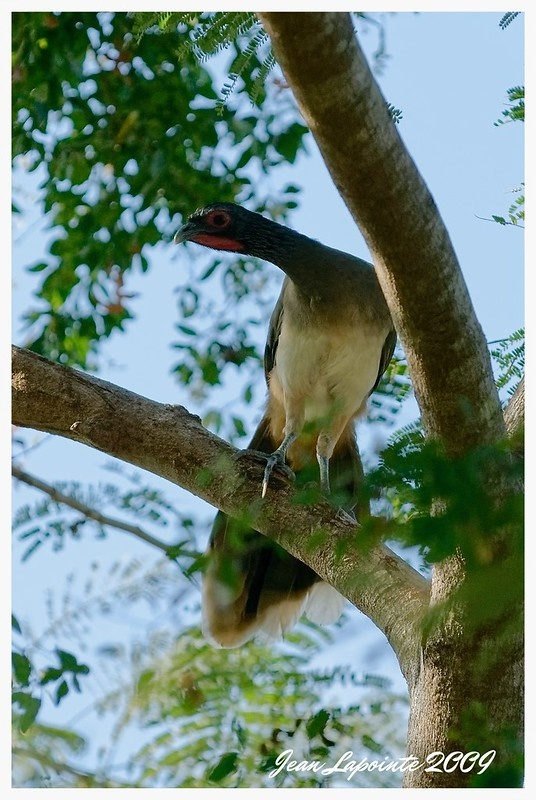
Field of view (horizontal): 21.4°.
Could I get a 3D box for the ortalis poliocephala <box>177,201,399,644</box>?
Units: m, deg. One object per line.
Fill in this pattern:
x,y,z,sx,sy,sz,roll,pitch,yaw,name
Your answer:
0.150,-0.053,5.234,0.667,1.755,0.749,5,8,-1,ortalis poliocephala
